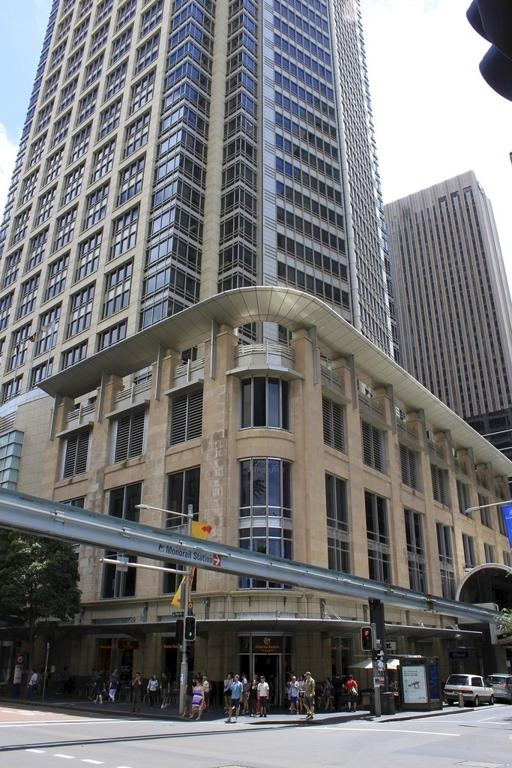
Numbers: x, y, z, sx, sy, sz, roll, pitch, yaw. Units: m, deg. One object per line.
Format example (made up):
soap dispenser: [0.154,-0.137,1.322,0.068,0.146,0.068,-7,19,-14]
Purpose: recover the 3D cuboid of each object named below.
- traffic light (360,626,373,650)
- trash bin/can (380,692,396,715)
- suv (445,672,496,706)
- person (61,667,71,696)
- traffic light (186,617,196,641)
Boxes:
traffic light: [4.881,11.101,24.446,0.526,0.898,0.412,-2,-24,2]
trash bin/can: [6.110,14.887,26.185,0.603,0.949,0.980,-5,-25,8]
suv: [13.254,19.093,34.786,1.725,1.522,3.042,-25,-42,33]
person: [-12.442,19.561,36.899,0.785,1.450,1.468,6,-26,-16]
traffic light: [-2.545,9.422,21.580,0.310,0.852,0.590,-4,-25,7]
